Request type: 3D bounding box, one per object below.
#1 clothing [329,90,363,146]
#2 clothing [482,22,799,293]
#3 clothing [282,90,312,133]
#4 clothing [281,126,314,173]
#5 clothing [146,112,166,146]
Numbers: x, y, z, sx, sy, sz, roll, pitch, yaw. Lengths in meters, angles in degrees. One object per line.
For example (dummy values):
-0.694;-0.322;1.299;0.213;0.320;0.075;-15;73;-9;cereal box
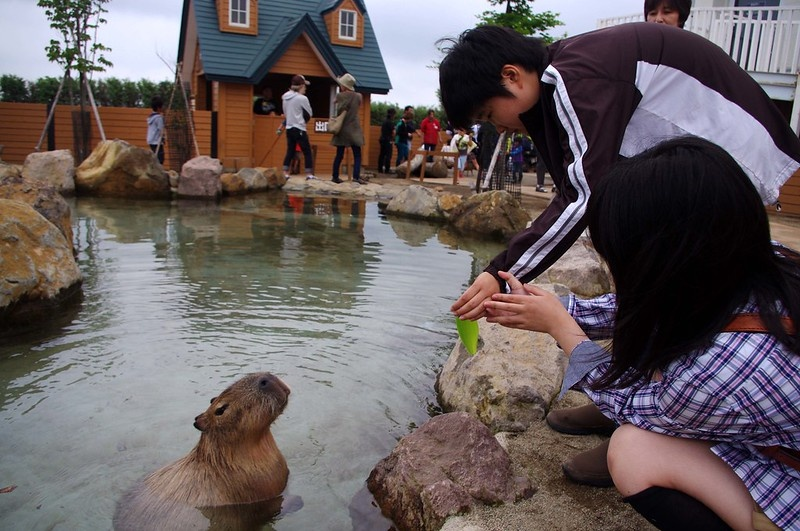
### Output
-1.292;-3.720;13.776;0.906;1.426;0.626;0;1;10;clothing
1.239;-0.591;2.949;1.561;1.052;1.245;-14;18;19;clothing
-2.605;-3.857;13.476;0.755;0.987;0.635;2;8;24;clothing
-2.710;-3.055;14.151;0.813;1.291;0.448;1;19;5;clothing
-7.071;-3.956;15.542;0.424;0.918;0.455;-3;16;-25;clothing
